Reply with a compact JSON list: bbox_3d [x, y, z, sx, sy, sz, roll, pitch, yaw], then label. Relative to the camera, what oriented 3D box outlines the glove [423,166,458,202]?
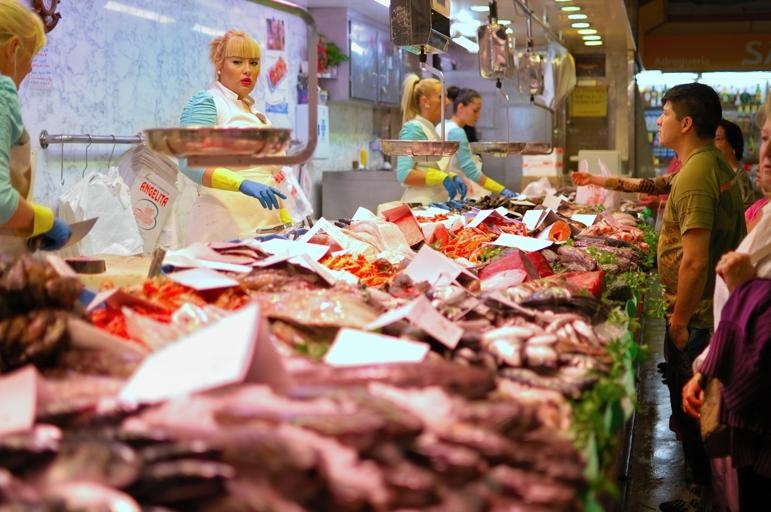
[{"bbox_3d":[0.433,-0.593,4.345,0.304,0.105,0.231,26,7,35],"label":"glove"}]

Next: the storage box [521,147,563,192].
[{"bbox_3d":[1.871,-1.067,6.391,0.479,0.485,0.516,3,7,9],"label":"storage box"}]

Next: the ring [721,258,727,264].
[{"bbox_3d":[1.104,0.014,1.755,0.006,0.016,0.017,9,-6,-17],"label":"ring"}]

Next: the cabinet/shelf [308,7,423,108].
[{"bbox_3d":[-0.369,-2.931,7.946,0.483,1.401,1.590,6,9,30],"label":"cabinet/shelf"}]

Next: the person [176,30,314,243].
[{"bbox_3d":[-0.761,-0.616,2.814,0.604,1.116,0.923,-1,8,-20],"label":"person"}]

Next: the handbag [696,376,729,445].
[{"bbox_3d":[1.009,0.485,1.671,0.050,0.159,0.163,2,-2,10],"label":"handbag"}]
